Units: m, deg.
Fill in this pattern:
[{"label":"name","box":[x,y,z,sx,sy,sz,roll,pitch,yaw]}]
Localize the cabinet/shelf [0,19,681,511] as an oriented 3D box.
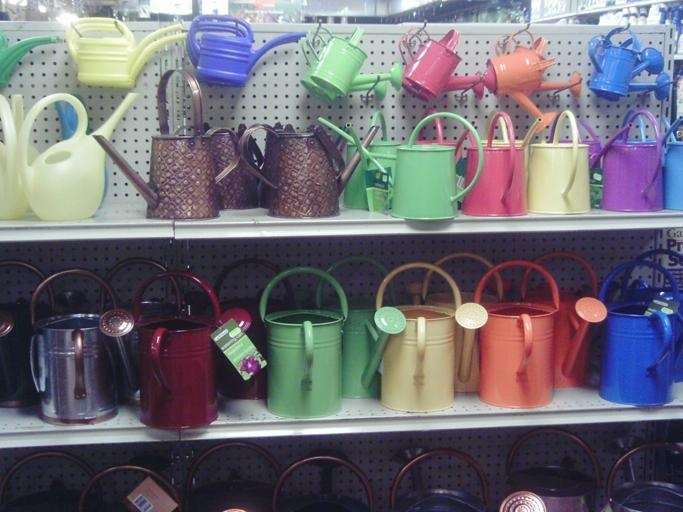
[{"label":"cabinet/shelf","box":[-0.059,0.004,2.221,1.336,0.924,0.481,1,28,-5]}]
